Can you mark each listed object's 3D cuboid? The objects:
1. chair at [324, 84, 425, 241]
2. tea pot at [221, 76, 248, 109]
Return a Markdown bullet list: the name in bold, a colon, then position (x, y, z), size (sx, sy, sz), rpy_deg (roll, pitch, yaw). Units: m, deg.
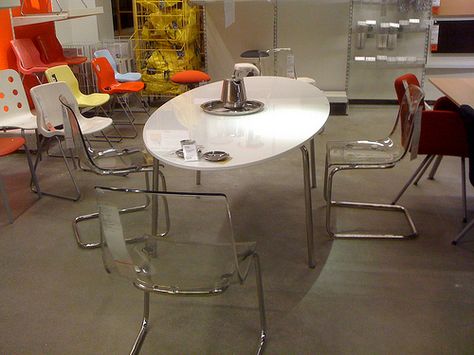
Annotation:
- **chair**: position (1.101, -0.162, 2.983), size (0.747, 1.090, 0.808), rpy_deg (3, 25, 13)
- **tea pot**: position (-0.026, -0.675, 2.971), size (0.178, 0.219, 0.240), rpy_deg (1, 26, -1)
